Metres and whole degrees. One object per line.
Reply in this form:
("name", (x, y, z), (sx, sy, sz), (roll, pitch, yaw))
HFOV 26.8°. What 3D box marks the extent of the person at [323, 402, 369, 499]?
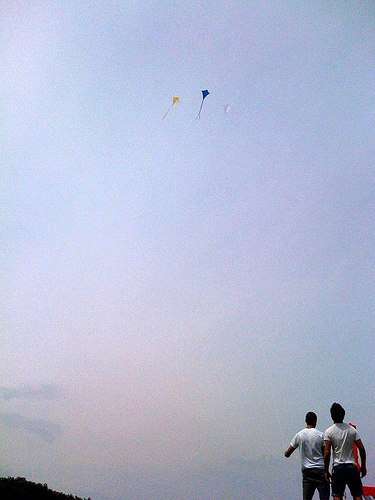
("person", (1.390, 1.793, 6.985), (0.367, 0.799, 0.253), (-1, -19, 11))
